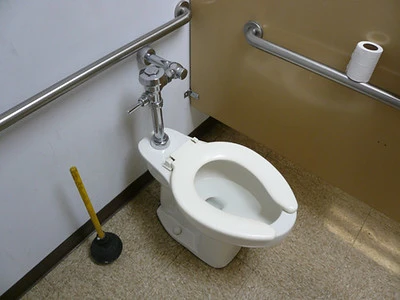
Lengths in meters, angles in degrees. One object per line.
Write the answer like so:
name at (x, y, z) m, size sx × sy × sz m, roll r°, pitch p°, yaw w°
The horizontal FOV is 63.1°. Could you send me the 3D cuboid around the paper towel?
paper towel at (0.590, -0.322, 1.262) m, size 0.105 × 0.133 × 0.112 m, roll -2°, pitch 14°, yaw 3°
